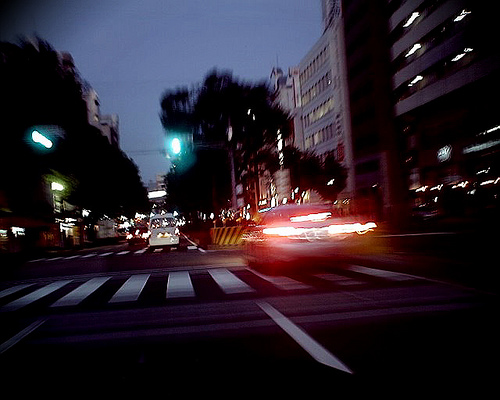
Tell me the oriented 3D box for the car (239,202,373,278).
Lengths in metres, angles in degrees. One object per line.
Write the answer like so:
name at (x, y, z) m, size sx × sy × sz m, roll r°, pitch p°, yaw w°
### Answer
car at (1.031, 1.120, 10.425) m, size 1.960 × 1.309 × 3.771 m, roll -1°, pitch -1°, yaw -18°

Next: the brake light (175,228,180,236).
brake light at (-4.873, 2.114, 22.496) m, size 0.299 × 0.421 × 0.107 m, roll 0°, pitch -29°, yaw -12°

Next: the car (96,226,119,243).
car at (-20.241, 4.659, 47.655) m, size 2.294 × 1.603 × 2.402 m, roll -1°, pitch 1°, yaw -11°

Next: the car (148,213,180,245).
car at (-5.958, 1.990, 22.900) m, size 1.871 × 2.143 × 1.807 m, roll -4°, pitch -6°, yaw -18°
